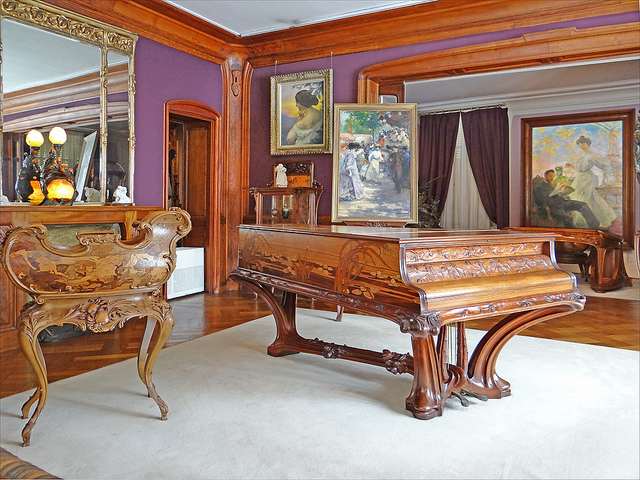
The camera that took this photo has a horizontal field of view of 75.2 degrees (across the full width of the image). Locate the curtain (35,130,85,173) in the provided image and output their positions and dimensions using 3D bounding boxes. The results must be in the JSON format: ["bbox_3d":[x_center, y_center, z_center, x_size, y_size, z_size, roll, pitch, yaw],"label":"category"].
[{"bbox_3d":[-2.868,-1.012,4.626,0.489,0.408,0.105,7,5,15],"label":"curtain"}]

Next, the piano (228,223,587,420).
[{"bbox_3d":[0.289,0.526,3.368,2.075,0.936,1.350,5,-4,43],"label":"piano"}]

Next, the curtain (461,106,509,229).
[{"bbox_3d":[3.904,-1.677,9.717,0.343,2.748,1.060,-5,9,-35],"label":"curtain"}]

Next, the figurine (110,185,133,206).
[{"bbox_3d":[-2.445,-0.538,5.086,0.344,0.223,0.160,1,-3,8],"label":"figurine"}]

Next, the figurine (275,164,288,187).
[{"bbox_3d":[-0.588,-0.969,6.206,0.160,0.328,0.241,-1,7,-9],"label":"figurine"}]

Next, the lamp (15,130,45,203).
[{"bbox_3d":[-3.038,-0.778,4.373,0.124,0.770,0.292,3,7,16],"label":"lamp"}]

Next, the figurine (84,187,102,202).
[{"bbox_3d":[-2.687,-0.532,4.910,0.169,0.141,0.124,-3,4,-37],"label":"figurine"}]
